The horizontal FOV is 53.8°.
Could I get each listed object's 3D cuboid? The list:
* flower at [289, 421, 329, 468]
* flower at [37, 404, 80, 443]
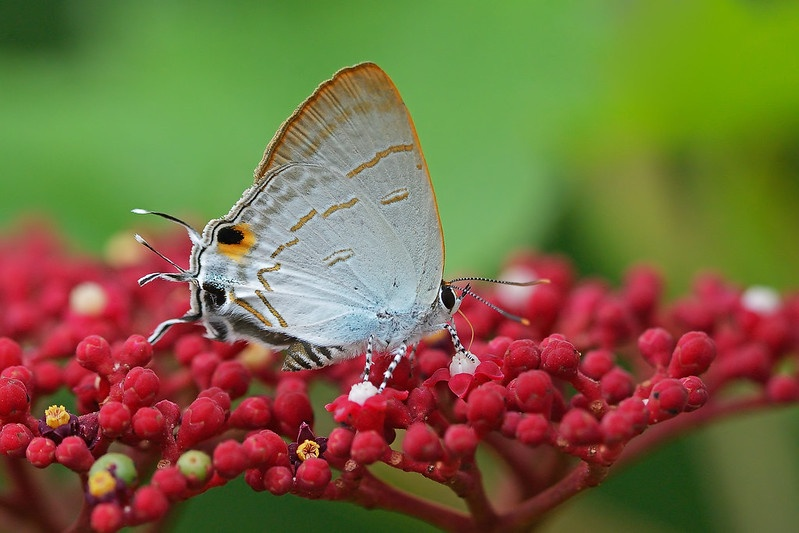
[{"bbox_3d":[-0.270,0.527,2.287,0.102,0.080,0.110,18,35,22],"label":"flower"},{"bbox_3d":[-0.979,0.448,2.246,0.116,0.071,0.106,-7,33,-16],"label":"flower"}]
